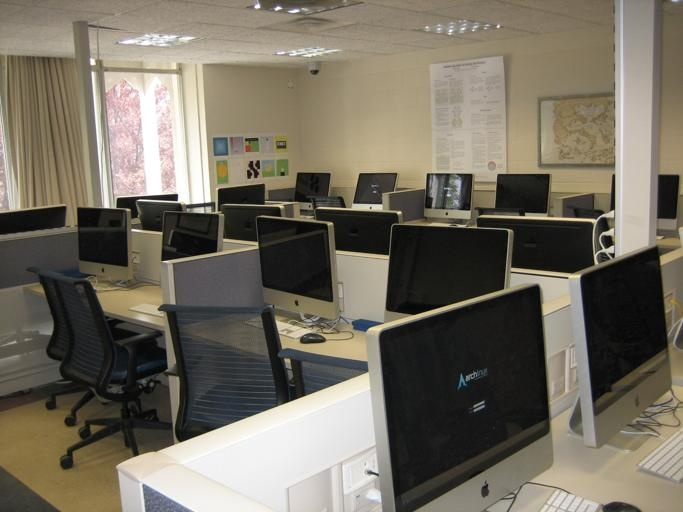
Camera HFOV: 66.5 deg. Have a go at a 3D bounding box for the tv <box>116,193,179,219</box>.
[{"bbox_3d":[-1.774,-0.461,4.785,0.482,0.324,0.260,-4,13,-35],"label":"tv"}]

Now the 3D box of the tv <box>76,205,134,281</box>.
[{"bbox_3d":[-1.821,-0.095,4.144,0.587,0.587,0.194,4,9,29],"label":"tv"}]

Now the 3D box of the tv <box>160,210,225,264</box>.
[{"bbox_3d":[-1.053,-0.132,3.596,0.052,0.351,0.482,13,8,34],"label":"tv"}]

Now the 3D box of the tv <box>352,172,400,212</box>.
[{"bbox_3d":[0.537,-0.845,7.876,0.864,0.808,0.206,13,6,40],"label":"tv"}]

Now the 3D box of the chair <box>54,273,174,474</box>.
[{"bbox_3d":[-1.464,0.721,3.405,0.741,1.123,0.880,-3,2,-44],"label":"chair"}]

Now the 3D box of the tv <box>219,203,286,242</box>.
[{"bbox_3d":[-0.807,-0.270,4.317,0.486,0.326,0.232,-1,14,-36],"label":"tv"}]

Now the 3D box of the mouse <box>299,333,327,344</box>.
[{"bbox_3d":[-0.158,0.449,2.853,0.095,0.028,0.064,-1,5,-12],"label":"mouse"}]

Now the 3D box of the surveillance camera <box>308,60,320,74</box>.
[{"bbox_3d":[-0.391,-2.752,7.543,0.150,0.171,0.161,-2,9,-2],"label":"surveillance camera"}]

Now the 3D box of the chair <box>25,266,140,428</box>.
[{"bbox_3d":[-1.615,0.600,3.576,0.808,1.125,0.768,-6,21,-43],"label":"chair"}]

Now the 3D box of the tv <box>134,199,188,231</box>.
[{"bbox_3d":[-1.534,-0.302,4.467,0.469,0.333,0.146,2,16,20],"label":"tv"}]

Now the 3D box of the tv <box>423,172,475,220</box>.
[{"bbox_3d":[1.429,-0.803,6.903,0.603,0.550,0.232,5,11,34],"label":"tv"}]

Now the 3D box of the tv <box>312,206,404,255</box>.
[{"bbox_3d":[0.084,-0.120,3.398,0.542,0.382,0.141,5,8,9],"label":"tv"}]

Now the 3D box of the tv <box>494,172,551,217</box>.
[{"bbox_3d":[2.153,-0.732,6.156,0.755,0.713,0.287,6,12,40],"label":"tv"}]

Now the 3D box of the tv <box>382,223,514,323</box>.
[{"bbox_3d":[0.452,0.068,2.209,0.461,0.434,0.169,3,2,37],"label":"tv"}]

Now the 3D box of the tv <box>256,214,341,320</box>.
[{"bbox_3d":[-0.260,0.075,3.031,0.211,0.607,0.597,-6,8,-44],"label":"tv"}]
